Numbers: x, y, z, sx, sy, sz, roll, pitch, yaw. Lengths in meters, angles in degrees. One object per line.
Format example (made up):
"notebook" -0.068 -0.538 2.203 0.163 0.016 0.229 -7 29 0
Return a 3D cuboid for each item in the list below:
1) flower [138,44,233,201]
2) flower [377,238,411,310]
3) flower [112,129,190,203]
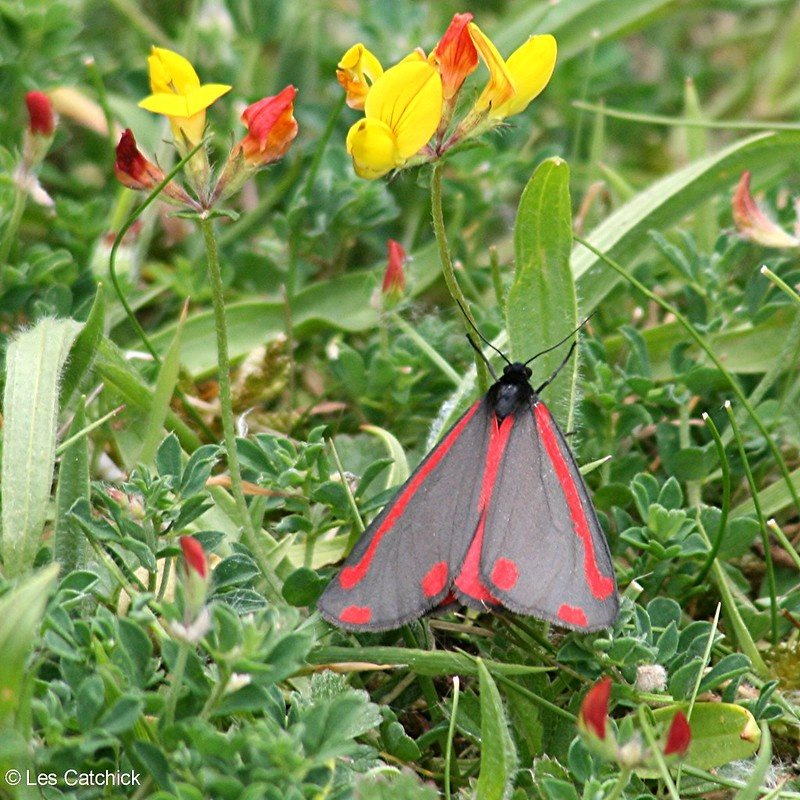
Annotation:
"flower" -0.336 -0.416 1.616 0.119 0.307 0.076 -3 29 14
"flower" -0.023 -0.265 2.122 0.059 0.200 0.047 28 57 24
"flower" -0.406 -0.369 1.631 0.145 0.091 0.075 25 35 11
